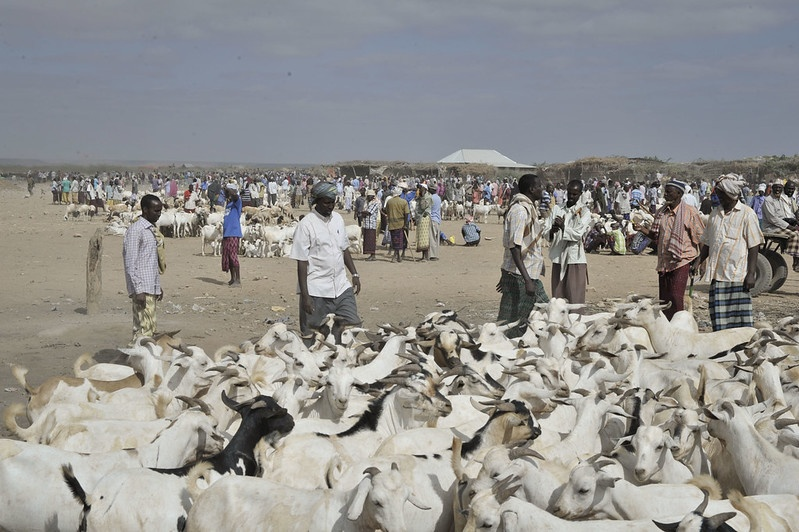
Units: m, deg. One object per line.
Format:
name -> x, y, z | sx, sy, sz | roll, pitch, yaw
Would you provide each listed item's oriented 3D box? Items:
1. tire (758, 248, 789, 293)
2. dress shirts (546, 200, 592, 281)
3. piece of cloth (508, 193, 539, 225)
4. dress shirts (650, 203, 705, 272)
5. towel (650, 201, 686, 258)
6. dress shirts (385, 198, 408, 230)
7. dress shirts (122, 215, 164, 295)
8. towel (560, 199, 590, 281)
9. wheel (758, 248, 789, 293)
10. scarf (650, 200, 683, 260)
tire -> 8.228, 0.135, 14.104 | 0.229, 0.837, 0.850 | -9, 20, 41
dress shirts -> 2.461, -0.448, 9.571 | 0.577, 1.115, 0.562 | 10, 12, 35
piece of cloth -> 1.653, -0.760, 8.578 | 0.362, 0.464, 0.275 | -19, 0, -15
dress shirts -> 3.900, -0.431, 9.145 | 0.606, 0.958, 0.839 | -4, 8, -39
towel -> 3.750, -0.564, 9.036 | 0.452, 0.846, 0.226 | 12, 35, 24
dress shirts -> -0.060, -1.544, 18.771 | 0.758, 0.935, 0.361 | 2, 5, 19
dress shirts -> -3.408, -0.137, 8.614 | 0.426, 1.063, 0.311 | -2, 2, -21
towel -> 2.593, -0.410, 9.545 | 0.412, 1.126, 0.473 | -1, 2, 16
wheel -> 8.227, 0.106, 14.116 | 0.229, 0.837, 0.850 | -9, 20, 41
scarf -> 3.746, -0.457, 9.077 | 0.469, 0.987, 0.276 | 7, -8, 25
